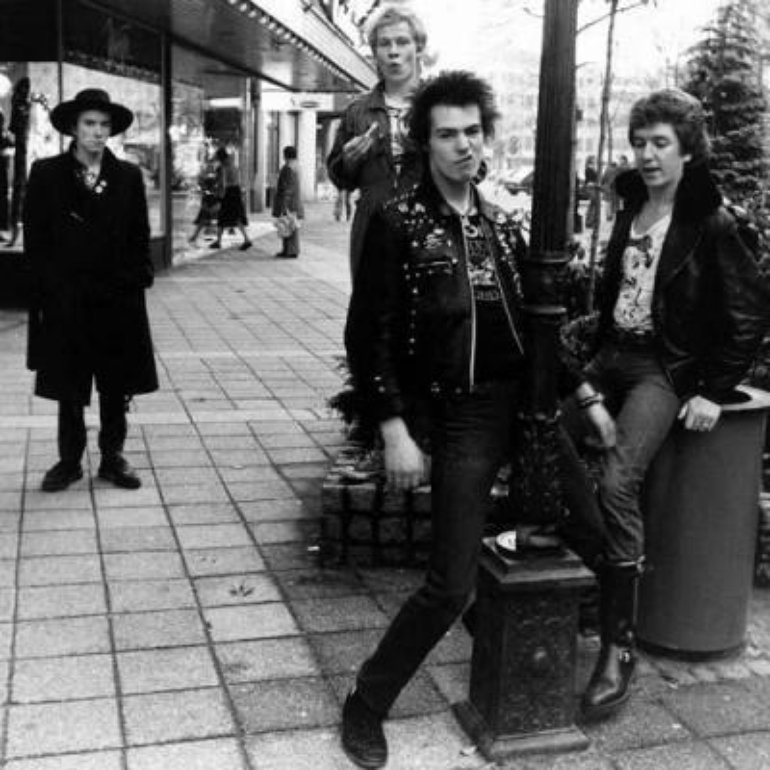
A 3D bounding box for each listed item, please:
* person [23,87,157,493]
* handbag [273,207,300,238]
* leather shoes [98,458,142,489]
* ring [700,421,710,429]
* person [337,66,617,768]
[{"bbox_3d":[-1.643,-0.380,4.633,0.674,1.918,0.397,-3,11,-23],"label":"person"},{"bbox_3d":[-2.131,-3.430,17.714,0.432,0.608,0.730,2,11,-2],"label":"handbag"},{"bbox_3d":[-1.525,0.496,4.756,0.126,0.122,0.291,-2,6,-42],"label":"leather shoes"},{"bbox_3d":[1.078,0.135,2.804,0.020,0.033,0.008,6,34,12],"label":"ring"},{"bbox_3d":[0.132,0.104,2.322,0.505,1.912,0.513,2,10,-1],"label":"person"}]
